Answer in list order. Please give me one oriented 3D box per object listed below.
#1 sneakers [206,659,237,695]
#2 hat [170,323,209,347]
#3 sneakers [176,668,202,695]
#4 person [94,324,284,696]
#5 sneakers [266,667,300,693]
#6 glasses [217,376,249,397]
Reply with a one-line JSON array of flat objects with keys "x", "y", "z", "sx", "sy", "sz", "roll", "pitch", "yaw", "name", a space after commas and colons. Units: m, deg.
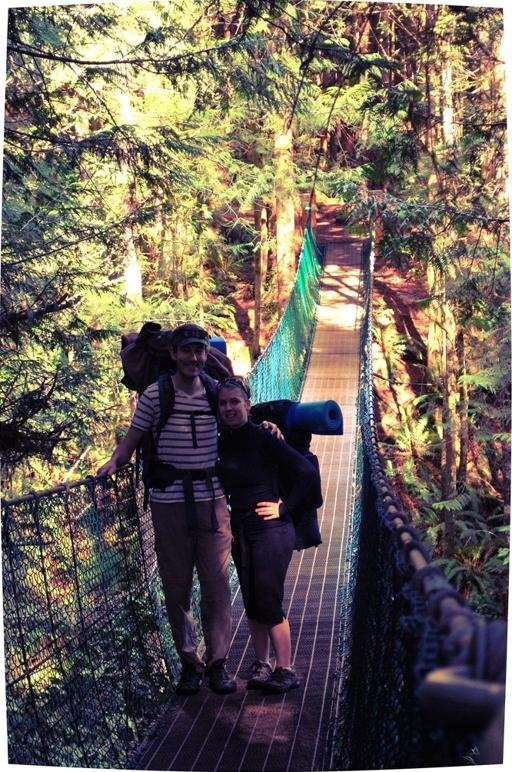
[{"x": -0.145, "y": 1.189, "z": 2.564, "sx": 0.078, "sy": 0.087, "sz": 0.203, "roll": -3, "pitch": 0, "yaw": -17, "name": "sneakers"}, {"x": -0.256, "y": -0.195, "z": 2.374, "sx": 0.142, "sy": 0.086, "sz": 0.116, "roll": -2, "pitch": 0, "yaw": -9, "name": "hat"}, {"x": -0.271, "y": 1.226, "z": 2.560, "sx": 0.072, "sy": 0.094, "sz": 0.139, "roll": 0, "pitch": -2, "yaw": 3, "name": "sneakers"}, {"x": -0.326, "y": 0.611, "z": 2.475, "sx": 0.447, "sy": 1.377, "sz": 0.234, "roll": -2, "pitch": 1, "yaw": -6, "name": "person"}, {"x": 0.106, "y": 1.197, "z": 2.506, "sx": 0.181, "sy": 0.081, "sz": 0.069, "roll": 6, "pitch": -9, "yaw": -34, "name": "sneakers"}, {"x": -0.086, "y": 0.008, "z": 2.452, "sx": 0.080, "sy": 0.099, "sz": 0.030, "roll": -1, "pitch": 40, "yaw": 19, "name": "glasses"}]
